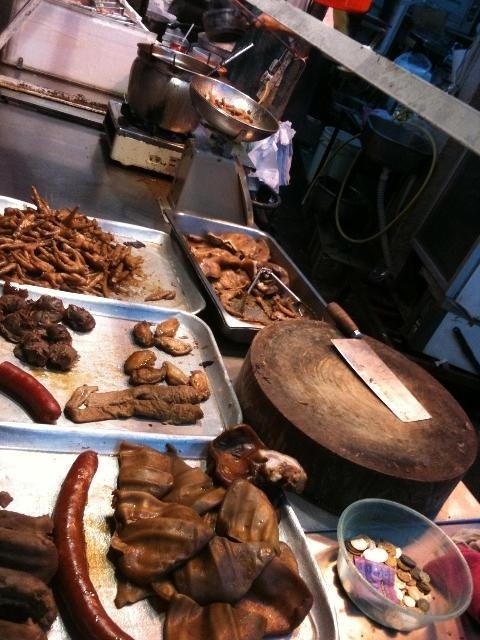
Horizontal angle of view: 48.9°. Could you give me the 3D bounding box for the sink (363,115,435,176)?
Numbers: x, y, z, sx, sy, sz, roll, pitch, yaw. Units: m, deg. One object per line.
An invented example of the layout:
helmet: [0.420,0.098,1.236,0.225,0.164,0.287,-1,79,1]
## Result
sink: [0.913,-1.065,3.234,0.341,0.189,0.414,17,30,-23]

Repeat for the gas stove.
gas stove: [-0.484,-0.863,2.714,0.397,0.165,0.392,8,33,-24]

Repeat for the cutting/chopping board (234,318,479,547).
cutting/chopping board: [0.236,0.310,1.233,0.537,0.120,0.502,21,24,-8]

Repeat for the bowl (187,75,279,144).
bowl: [-0.034,-0.804,2.016,0.324,0.119,0.309,17,37,-13]

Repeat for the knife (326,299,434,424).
knife: [0.345,0.119,1.403,0.110,0.041,0.415,-1,24,-21]
